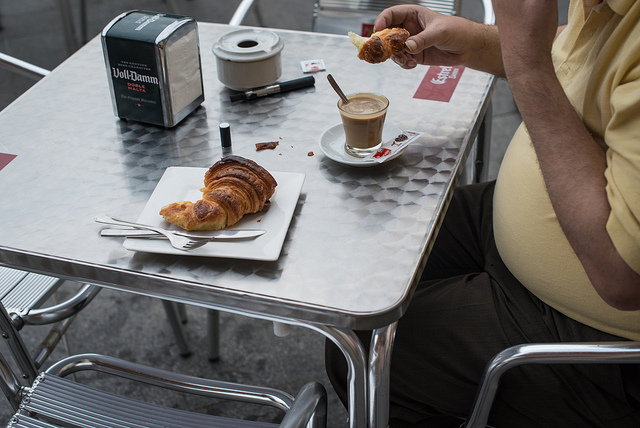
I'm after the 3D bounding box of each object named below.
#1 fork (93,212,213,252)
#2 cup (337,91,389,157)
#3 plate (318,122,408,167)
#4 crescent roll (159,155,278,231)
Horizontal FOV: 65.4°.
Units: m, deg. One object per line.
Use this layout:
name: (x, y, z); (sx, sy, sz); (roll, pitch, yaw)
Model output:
fork: (-0.308, 0.035, 0.933); (0.195, 0.028, 0.033); (11, 43, 16)
cup: (0.097, -0.201, 1.131); (0.108, 0.111, 0.109); (-3, 35, 2)
plate: (0.105, -0.187, 1.181); (0.206, 0.104, 0.201); (-12, 25, -23)
crescent roll: (-0.192, -0.033, 0.973); (0.151, 0.054, 0.190); (29, 56, 20)
